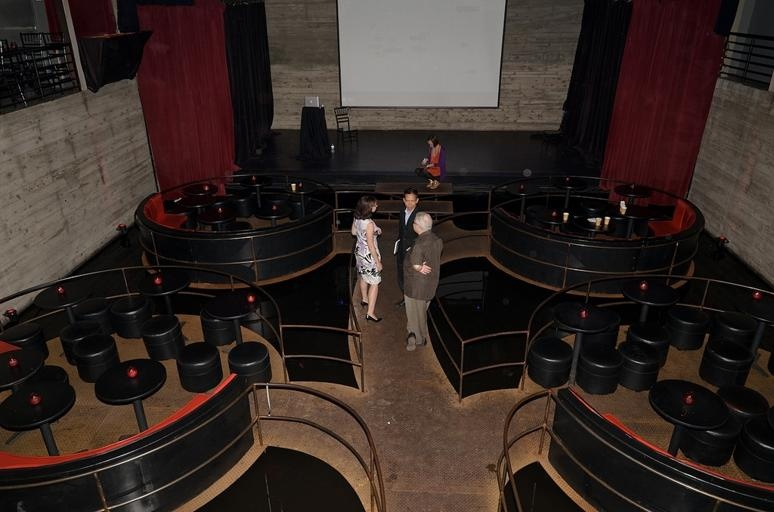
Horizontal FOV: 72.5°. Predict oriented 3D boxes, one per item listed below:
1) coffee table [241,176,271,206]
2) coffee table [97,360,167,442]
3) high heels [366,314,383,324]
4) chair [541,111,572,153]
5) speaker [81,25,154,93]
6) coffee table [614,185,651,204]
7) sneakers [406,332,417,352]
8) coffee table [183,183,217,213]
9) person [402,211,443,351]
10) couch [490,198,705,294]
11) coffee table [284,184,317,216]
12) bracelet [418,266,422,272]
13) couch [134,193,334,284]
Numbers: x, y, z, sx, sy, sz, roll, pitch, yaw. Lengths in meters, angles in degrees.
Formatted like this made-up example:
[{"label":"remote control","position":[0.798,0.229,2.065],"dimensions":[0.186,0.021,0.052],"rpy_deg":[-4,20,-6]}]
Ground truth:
[{"label":"coffee table","position":[-2.922,-1.437,11.757],"dimensions":[0.609,0.689,0.541],"rpy_deg":[-10,45,-16]},{"label":"coffee table","position":[-3.323,1.772,7.165],"dimensions":[0.937,0.988,0.866],"rpy_deg":[-13,47,-21]},{"label":"high heels","position":[-0.211,1.045,8.758],"dimensions":[0.247,0.108,0.125],"rpy_deg":[-2,14,-3]},{"label":"chair","position":[5.439,-4.035,16.648],"dimensions":[0.800,0.938,1.837],"rpy_deg":[9,26,16]},{"label":"speaker","position":[-5.935,-4.217,11.321],"dimensions":[0.675,1.145,1.790],"rpy_deg":[6,29,9]},{"label":"coffee table","position":[5.461,-1.359,11.670],"dimensions":[0.600,0.391,0.557],"rpy_deg":[-2,37,1]},{"label":"sneakers","position":[0.388,1.357,8.232],"dimensions":[0.135,0.269,0.083],"rpy_deg":[3,-15,3]},{"label":"coffee table","position":[-4.022,-1.282,11.323],"dimensions":[0.615,0.244,0.997],"rpy_deg":[1,28,-7]},{"label":"person","position":[0.521,0.410,7.931],"dimensions":[0.531,2.189,0.402],"rpy_deg":[-4,27,-11]},{"label":"couch","position":[4.073,-0.238,10.079],"dimensions":[2.761,0.778,2.700],"rpy_deg":[-6,25,-10]},{"label":"coffee table","position":[-1.790,-1.103,11.483],"dimensions":[0.562,0.584,0.607],"rpy_deg":[-1,10,0]},{"label":"bracelet","position":[0.479,0.190,7.604],"dimensions":[0.064,0.045,0.059],"rpy_deg":[6,54,5]},{"label":"couch","position":[-3.595,-0.544,11.199],"dimensions":[3.711,0.825,3.336],"rpy_deg":[-3,22,-24]}]
